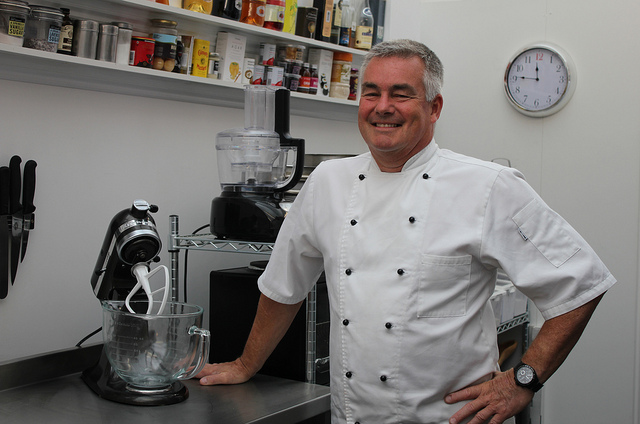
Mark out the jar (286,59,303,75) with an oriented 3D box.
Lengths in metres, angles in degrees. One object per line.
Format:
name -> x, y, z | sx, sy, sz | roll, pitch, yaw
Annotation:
jar -> -0.125, -0.701, 2.508 | 0.068, 0.062, 0.068 | 6, 12, -1

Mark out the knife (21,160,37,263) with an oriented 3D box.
knife -> -1.041, -0.011, 1.851 | 0.027, 0.330, 0.049 | 2, 1, 36

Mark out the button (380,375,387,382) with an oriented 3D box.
button -> 0.181, 0.475, 1.473 | 0.020, 0.018, 0.005 | 4, 12, 8

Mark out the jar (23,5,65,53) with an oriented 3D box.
jar -> -0.945, -0.625, 1.799 | 0.132, 0.148, 0.152 | 12, 11, -39

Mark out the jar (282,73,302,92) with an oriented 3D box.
jar -> -0.142, -0.632, 2.503 | 0.092, 0.070, 0.092 | 3, 9, 0

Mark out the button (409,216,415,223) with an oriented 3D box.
button -> 0.264, 0.022, 1.480 | 0.013, 0.016, 0.006 | 0, -17, 9

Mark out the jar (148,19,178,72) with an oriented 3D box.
jar -> -0.603, -0.675, 2.113 | 0.122, 0.201, 0.124 | 4, 22, -2

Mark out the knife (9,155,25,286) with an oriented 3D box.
knife -> -1.085, 0.015, 1.842 | 0.058, 0.397, 0.044 | 0, 10, -42

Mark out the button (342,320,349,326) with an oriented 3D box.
button -> 0.076, 0.327, 1.520 | 0.018, 0.018, 0.004 | -2, 3, 19

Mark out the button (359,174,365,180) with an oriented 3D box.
button -> 0.129, -0.107, 1.586 | 0.016, 0.016, 0.004 | -2, -14, 17

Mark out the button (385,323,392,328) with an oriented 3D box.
button -> 0.192, 0.321, 1.456 | 0.018, 0.013, 0.005 | 4, 12, 7

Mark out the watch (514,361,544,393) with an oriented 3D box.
watch -> 0.563, 0.451, 1.408 | 0.083, 0.057, 0.089 | 34, 17, -55

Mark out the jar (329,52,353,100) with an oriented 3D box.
jar -> 0.124, -0.739, 2.792 | 0.138, 0.235, 0.137 | 8, 10, -1

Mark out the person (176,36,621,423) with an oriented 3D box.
person -> 0.277, 0.084, 1.520 | 1.076, 1.149, 0.301 | 7, 13, 21

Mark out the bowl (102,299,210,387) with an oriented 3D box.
bowl -> -0.507, 0.430, 1.585 | 0.320, 0.210, 0.258 | 8, -16, -11

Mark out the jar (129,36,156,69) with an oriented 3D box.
jar -> -0.686, -0.608, 2.000 | 0.113, 0.120, 0.110 | 6, 9, -1

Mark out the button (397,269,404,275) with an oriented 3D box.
button -> 0.227, 0.170, 1.461 | 0.013, 0.015, 0.005 | -5, -13, 11

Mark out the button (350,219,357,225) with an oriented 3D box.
button -> 0.100, 0.032, 1.539 | 0.016, 0.015, 0.004 | -1, -7, 23

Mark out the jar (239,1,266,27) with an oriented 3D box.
jar -> -0.290, -0.875, 2.309 | 0.106, 0.110, 0.106 | 4, 10, -1

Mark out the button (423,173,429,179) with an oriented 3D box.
button -> 0.310, -0.104, 1.516 | 0.010, 0.016, 0.006 | -2, 2, 5

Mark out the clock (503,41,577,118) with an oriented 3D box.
clock -> 1.330, -0.789, 3.079 | 0.485, 0.537, 0.111 | -1, -1, 32

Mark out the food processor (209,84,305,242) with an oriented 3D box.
food processor -> -0.230, -0.200, 2.060 | 0.364, 0.583, 0.299 | 6, 4, 32

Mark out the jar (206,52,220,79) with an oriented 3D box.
jar -> -0.464, -0.643, 2.267 | 0.038, 0.110, 0.075 | 3, 12, 5
